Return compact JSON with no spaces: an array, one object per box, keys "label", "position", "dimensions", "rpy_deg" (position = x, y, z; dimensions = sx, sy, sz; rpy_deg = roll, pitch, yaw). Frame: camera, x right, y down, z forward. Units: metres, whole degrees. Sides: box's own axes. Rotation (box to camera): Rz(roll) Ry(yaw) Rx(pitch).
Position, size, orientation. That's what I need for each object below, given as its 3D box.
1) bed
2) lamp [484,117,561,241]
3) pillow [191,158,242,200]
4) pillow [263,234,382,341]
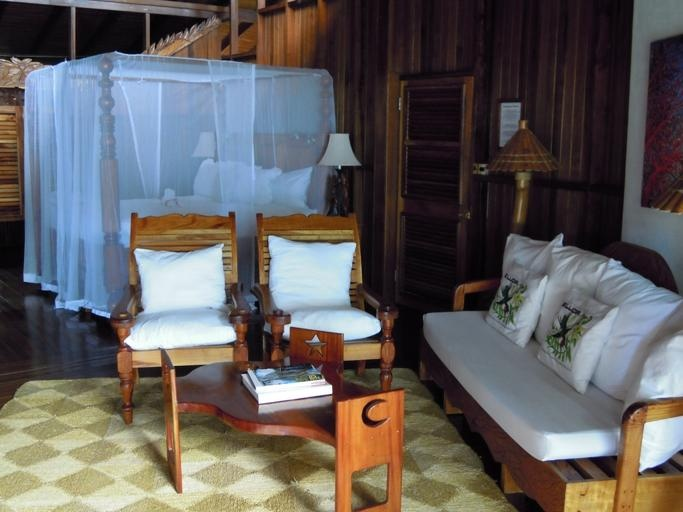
[{"label":"bed","position":[-1.709,-0.719,5.658],"dimensions":[2.623,1.892,2.570],"rpy_deg":[-1,8,-28]},{"label":"lamp","position":[1.346,-0.588,4.121],"dimensions":[0.468,0.822,0.626],"rpy_deg":[6,15,18]},{"label":"pillow","position":[-1.123,-0.673,5.020],"dimensions":[0.399,0.354,0.315],"rpy_deg":[-4,5,12]},{"label":"pillow","position":[-0.120,0.201,3.737],"dimensions":[0.773,0.676,0.674],"rpy_deg":[1,1,-17]}]
